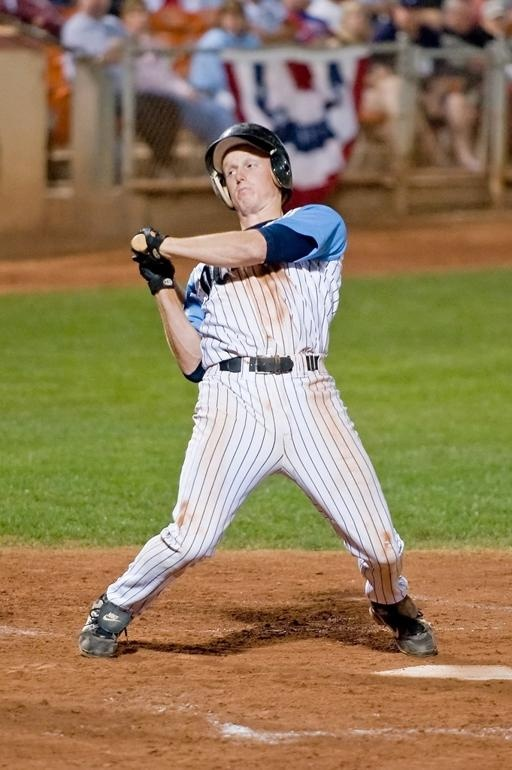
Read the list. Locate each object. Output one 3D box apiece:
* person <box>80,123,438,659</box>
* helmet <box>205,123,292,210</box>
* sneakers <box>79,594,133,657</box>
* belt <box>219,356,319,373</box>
[{"bbox_3d":[0.032,0.140,2.785,0.937,1.202,0.358,1,8,-9],"label":"person"},{"bbox_3d":[-0.032,-0.590,2.912,0.208,0.197,0.253,-19,12,19],"label":"helmet"},{"bbox_3d":[-0.402,0.640,2.888,0.086,0.108,0.248,39,-8,-3],"label":"sneakers"},{"bbox_3d":[0.029,-0.048,2.677,0.121,0.029,0.089,-3,-3,37],"label":"belt"}]
